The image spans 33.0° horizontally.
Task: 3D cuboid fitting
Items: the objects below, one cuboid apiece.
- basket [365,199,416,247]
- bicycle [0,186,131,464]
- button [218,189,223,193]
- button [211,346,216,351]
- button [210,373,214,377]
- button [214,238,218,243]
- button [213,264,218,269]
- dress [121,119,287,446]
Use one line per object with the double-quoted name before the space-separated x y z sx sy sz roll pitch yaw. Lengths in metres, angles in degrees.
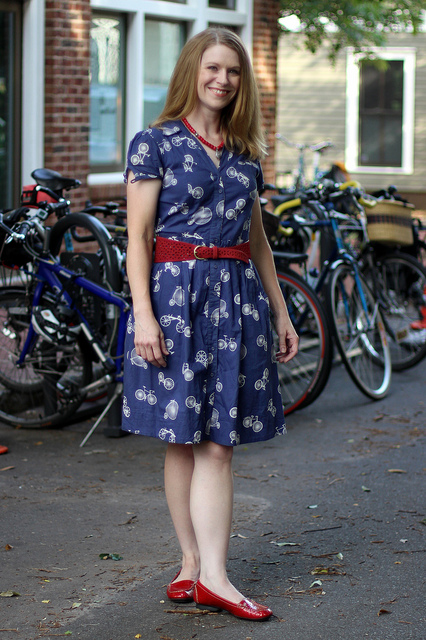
"basket" 1.428 -0.783 5.921 0.406 0.285 0.397 -1 -6 8
"bicycle" -0.835 -0.021 4.003 0.598 1.433 0.817 -2 5 -25
"button" 0.017 -0.341 1.890 0.010 0.009 0.002 -2 2 -14
"button" -0.001 0.074 1.920 0.015 0.013 0.003 -1 0 -20
"button" -0.005 0.145 1.932 0.012 0.011 0.003 0 -1 -17
"button" 0.007 -0.213 1.928 0.012 0.015 0.009 1 -41 3
"button" 0.005 -0.144 1.923 0.014 0.013 0.004 0 -2 -9
"dress" -0.007 -0.095 1.992 0.479 0.892 0.309 0 5 -9
